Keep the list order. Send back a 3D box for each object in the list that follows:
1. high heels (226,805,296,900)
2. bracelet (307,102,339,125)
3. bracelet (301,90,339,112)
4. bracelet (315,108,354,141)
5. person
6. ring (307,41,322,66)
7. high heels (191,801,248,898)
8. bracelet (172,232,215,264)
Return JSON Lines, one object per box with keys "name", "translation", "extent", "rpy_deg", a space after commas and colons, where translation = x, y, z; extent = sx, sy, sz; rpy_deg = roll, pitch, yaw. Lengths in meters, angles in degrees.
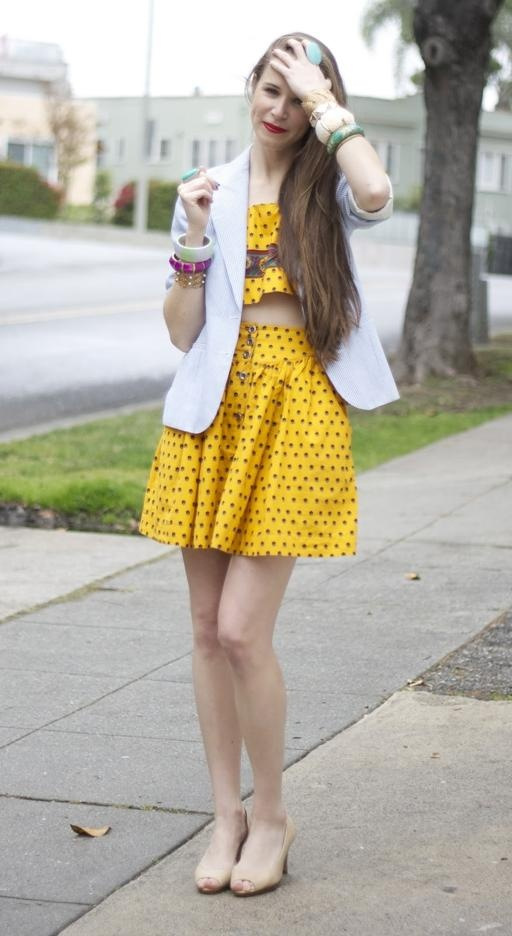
{"name": "high heels", "translation": [0.025, 0.884, 2.342], "extent": [0.075, 0.096, 0.224], "rpy_deg": [3, 10, 21]}
{"name": "bracelet", "translation": [0.141, -0.766, 2.175], "extent": [0.043, 0.052, 0.021], "rpy_deg": [17, 11, 9]}
{"name": "bracelet", "translation": [0.135, -0.792, 2.193], "extent": [0.073, 0.039, 0.093], "rpy_deg": [-2, 8, 6]}
{"name": "bracelet", "translation": [0.167, -0.739, 2.162], "extent": [0.065, 0.072, 0.073], "rpy_deg": [0, 27, -1]}
{"name": "person", "translation": [0.036, -0.015, 2.337], "extent": [0.592, 1.916, 0.388], "rpy_deg": [-1, 7, -8]}
{"name": "ring", "translation": [0.129, -0.913, 2.254], "extent": [0.051, 0.049, 0.011], "rpy_deg": [-9, 1, -43]}
{"name": "high heels", "translation": [-0.072, 0.874, 2.323], "extent": [0.068, 0.083, 0.201], "rpy_deg": [-2, 22, 22]}
{"name": "bracelet", "translation": [-0.135, -0.490, 2.265], "extent": [0.090, 0.066, 0.085], "rpy_deg": [-1, 7, -3]}
